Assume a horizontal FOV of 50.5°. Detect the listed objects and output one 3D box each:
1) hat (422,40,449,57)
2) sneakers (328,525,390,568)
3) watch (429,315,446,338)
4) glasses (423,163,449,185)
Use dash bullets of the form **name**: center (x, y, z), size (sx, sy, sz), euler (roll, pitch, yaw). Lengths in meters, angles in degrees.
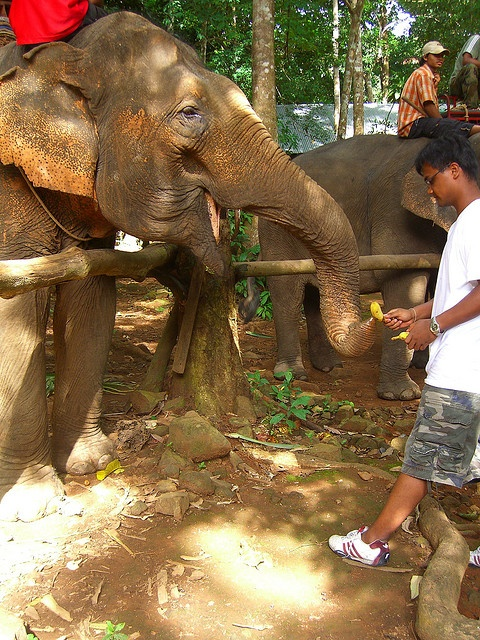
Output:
- **hat**: center (1.496, -2.109, 3.913), size (0.138, 0.087, 0.188), euler (-24, 29, -32)
- **sneakers**: center (0.371, 0.710, 1.608), size (0.222, 0.090, 0.083), euler (9, 11, 26)
- **watch**: center (0.581, 0.019, 1.508), size (0.029, 0.044, 0.053), euler (-34, 4, 6)
- **glasses**: center (0.606, -0.456, 1.558), size (0.046, 0.013, 0.043), euler (-37, -6, 0)
